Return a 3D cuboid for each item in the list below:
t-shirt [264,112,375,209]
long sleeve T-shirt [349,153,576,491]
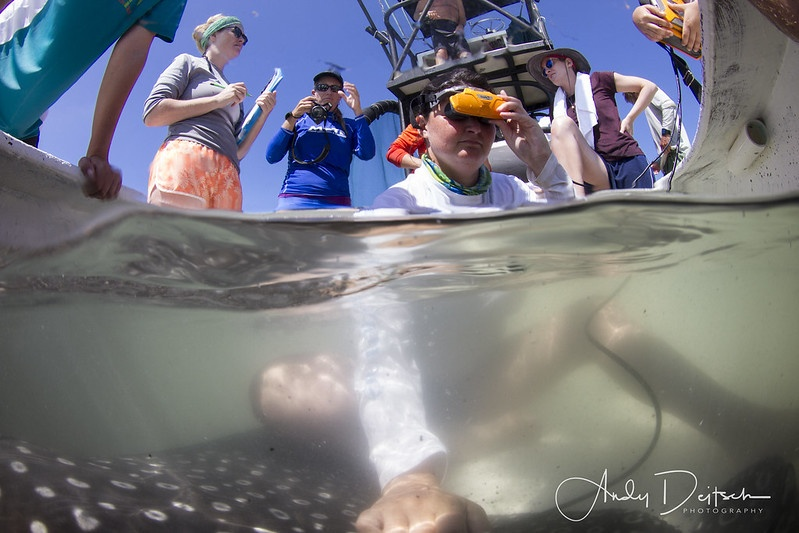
[{"bbox_3d":[-0.531,-0.715,2.871,0.636,0.509,0.883,1,66,0],"label":"t-shirt"},{"bbox_3d":[0.149,0.125,2.040,0.699,0.499,1.636,-1,66,7],"label":"long sleeve T-shirt"}]
